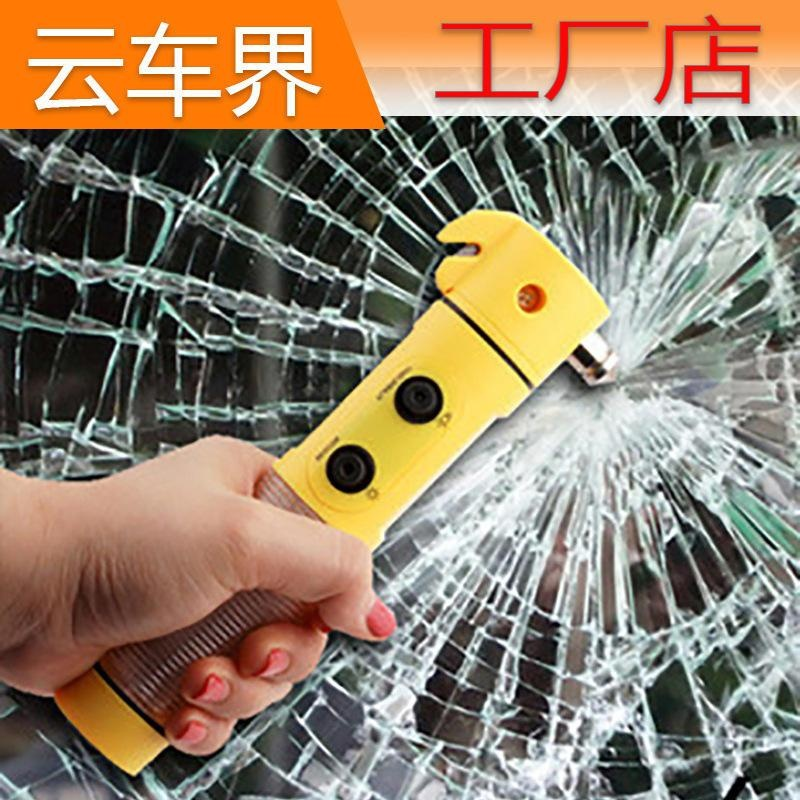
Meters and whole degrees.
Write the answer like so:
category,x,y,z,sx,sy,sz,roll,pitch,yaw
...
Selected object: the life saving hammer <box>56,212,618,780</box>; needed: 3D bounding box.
category,x,y,z,sx,sy,sz,roll,pitch,yaw
life saving hammer,-0.053,0.065,0.566,0.102,0.462,0.189,48,-2,3
